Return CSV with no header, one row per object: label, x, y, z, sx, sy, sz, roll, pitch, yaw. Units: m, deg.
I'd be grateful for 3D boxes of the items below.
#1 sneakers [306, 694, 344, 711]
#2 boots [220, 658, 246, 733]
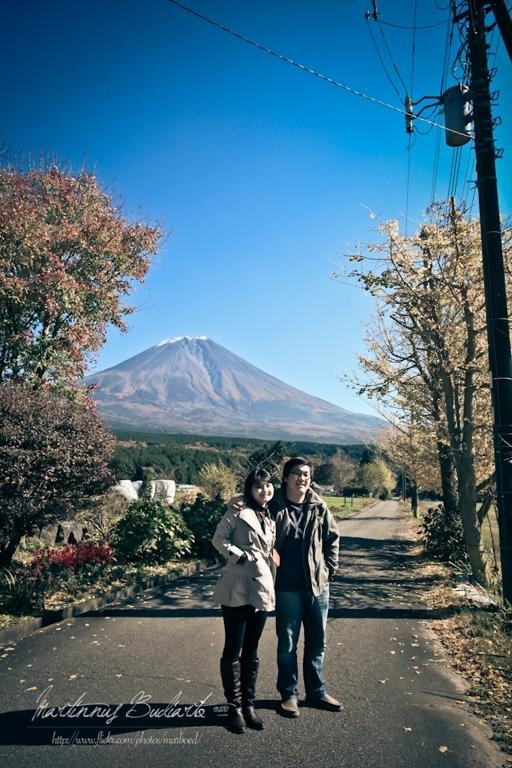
sneakers,0.518,2.347,4.141,0.290,0.127,0.100,-4,-12,20
boots,-0.162,2.127,3.860,0.176,0.452,0.259,1,-7,-5
